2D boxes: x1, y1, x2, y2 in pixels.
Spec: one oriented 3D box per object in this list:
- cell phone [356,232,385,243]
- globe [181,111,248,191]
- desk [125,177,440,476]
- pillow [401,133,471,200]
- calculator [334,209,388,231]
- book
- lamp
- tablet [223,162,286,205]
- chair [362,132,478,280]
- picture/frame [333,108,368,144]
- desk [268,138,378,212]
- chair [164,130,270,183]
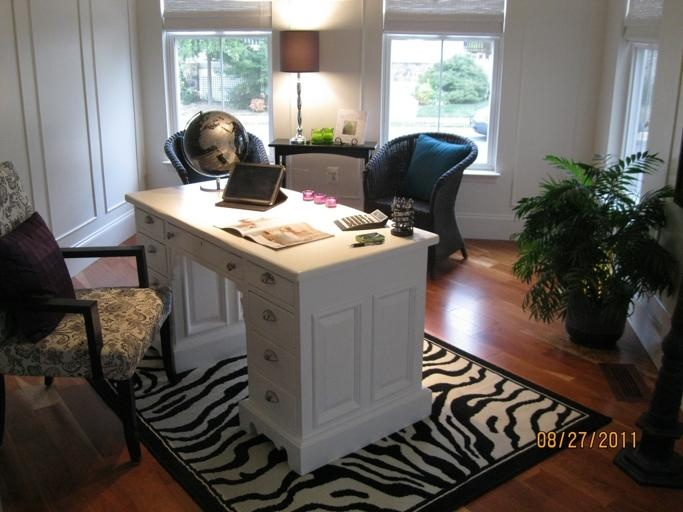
[{"bbox_3d":[0.128,-0.085,2.466,0.133,0.029,0.086,-6,21,-15],"label":"cell phone"},{"bbox_3d":[-0.784,-0.655,3.138,0.314,0.438,0.367,3,19,-11],"label":"globe"},{"bbox_3d":[-0.464,0.258,3.171,0.920,1.052,1.895,-12,21,-39],"label":"desk"},{"bbox_3d":[0.867,-0.775,4.626,0.168,0.562,0.571,19,6,-40],"label":"pillow"},{"bbox_3d":[0.102,-0.180,2.665,0.189,0.066,0.141,-5,19,-17],"label":"calculator"},{"bbox_3d":[-0.348,-0.113,2.545,0.435,0.051,0.518,-7,14,-34],"label":"book"},{"bbox_3d":[-0.389,-1.695,5.130,0.338,1.037,0.470,15,24,40],"label":"lamp"},{"bbox_3d":[-0.518,-0.419,3.011,0.278,0.292,0.067,6,-19,14],"label":"tablet"},{"bbox_3d":[0.704,-0.504,4.662,0.802,1.108,0.947,-10,20,-35],"label":"chair"},{"bbox_3d":[0.083,-1.277,5.064,0.344,0.379,0.039,8,-2,11],"label":"picture/frame"},{"bbox_3d":[-0.202,-0.890,5.400,1.102,0.709,0.683,5,20,3],"label":"desk"},{"bbox_3d":[-1.140,-0.904,4.693,0.824,0.552,0.941,3,18,-28],"label":"chair"}]
